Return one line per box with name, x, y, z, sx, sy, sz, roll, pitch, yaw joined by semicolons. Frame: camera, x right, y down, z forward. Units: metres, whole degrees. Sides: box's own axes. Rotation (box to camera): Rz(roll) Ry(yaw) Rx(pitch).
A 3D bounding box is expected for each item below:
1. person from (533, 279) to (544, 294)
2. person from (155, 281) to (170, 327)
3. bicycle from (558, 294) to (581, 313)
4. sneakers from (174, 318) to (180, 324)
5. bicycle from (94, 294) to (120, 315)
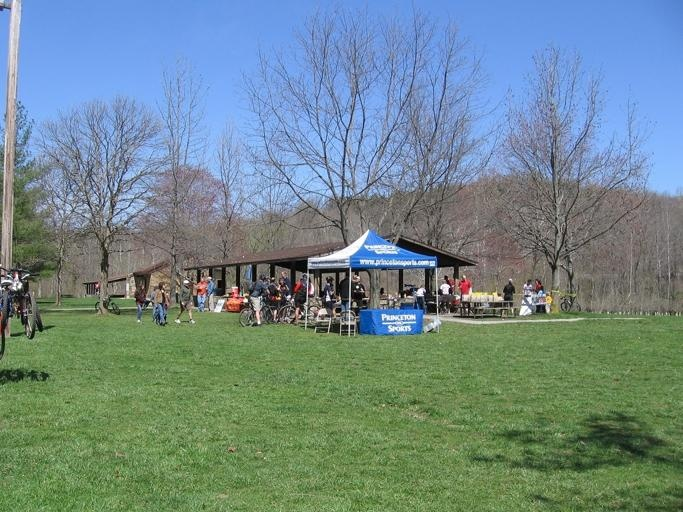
person;11.705;1.837;44.450;0.452;1.225;0.434;7;-12;-32
person;-6.696;1.753;27.748;0.433;1.718;2.364;-1;6;-15
bicycle;11.971;2.494;38.969;0.719;1.146;1.604;-3;0;6
sneakers;-6.365;2.535;28.882;0.094;0.209;0.270;5;-16;-38
bicycle;-12.989;2.692;41.283;1.965;1.418;1.042;-5;-3;32
